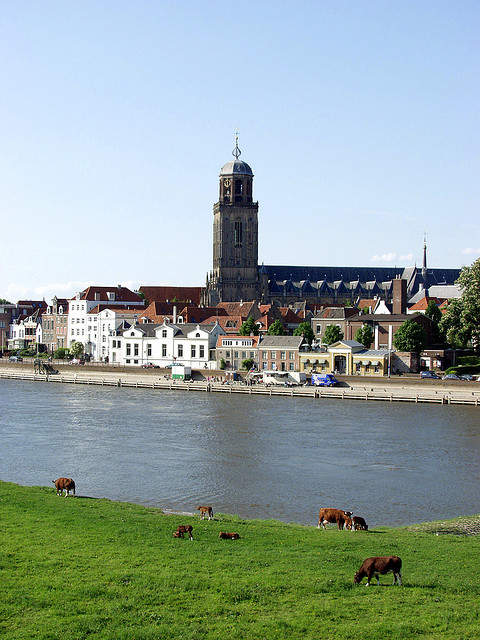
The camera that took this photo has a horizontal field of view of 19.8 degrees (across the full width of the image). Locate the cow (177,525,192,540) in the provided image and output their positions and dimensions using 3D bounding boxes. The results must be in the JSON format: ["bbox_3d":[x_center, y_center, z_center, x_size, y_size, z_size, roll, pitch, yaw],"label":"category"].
[{"bbox_3d":[-2.168,8.000,52.634,0.597,0.476,0.701,0,-4,3],"label":"cow"}]

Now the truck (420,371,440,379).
[{"bbox_3d":[16.680,4.746,121.596,1.718,0.827,5.753,0,-5,8],"label":"truck"}]

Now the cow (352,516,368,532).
[{"bbox_3d":[4.883,8.281,56.737,0.721,0.506,0.564,1,-4,-10],"label":"cow"}]

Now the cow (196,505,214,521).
[{"bbox_3d":[-1.454,8.047,58.204,0.528,0.447,1.345,1,-5,-4],"label":"cow"}]

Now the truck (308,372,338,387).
[{"bbox_3d":[7.641,5.265,125.640,0.931,1.175,2.273,0,-4,-39],"label":"truck"}]

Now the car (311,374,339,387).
[{"bbox_3d":[7.606,5.391,126.069,0.797,1.150,3.994,2,-5,-20],"label":"car"}]

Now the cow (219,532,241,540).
[{"bbox_3d":[-0.461,8.179,52.913,0.772,0.227,0.467,1,-4,-2],"label":"cow"}]

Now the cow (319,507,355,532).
[{"bbox_3d":[3.943,8.212,57.607,1.688,0.771,0.894,-3,-6,42],"label":"cow"}]

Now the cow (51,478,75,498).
[{"bbox_3d":[-8.003,7.346,62.229,0.411,0.965,1.431,4,-2,-35],"label":"cow"}]

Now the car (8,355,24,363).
[{"bbox_3d":[-29.066,4.790,176.062,0.917,0.926,1.884,2,5,-25],"label":"car"}]
